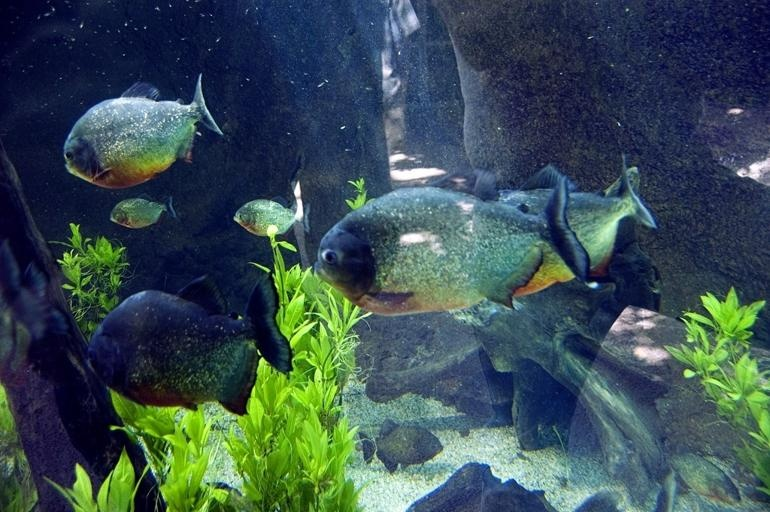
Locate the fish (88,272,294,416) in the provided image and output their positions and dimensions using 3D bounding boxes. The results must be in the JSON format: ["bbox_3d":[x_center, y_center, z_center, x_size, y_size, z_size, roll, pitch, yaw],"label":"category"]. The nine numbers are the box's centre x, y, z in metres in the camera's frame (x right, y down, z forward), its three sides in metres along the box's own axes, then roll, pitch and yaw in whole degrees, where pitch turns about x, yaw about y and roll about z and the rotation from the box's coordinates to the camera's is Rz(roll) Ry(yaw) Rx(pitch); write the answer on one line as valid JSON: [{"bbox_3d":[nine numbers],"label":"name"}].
[{"bbox_3d":[-0.914,0.439,3.013,0.948,0.511,0.361,-4,34,7],"label":"fish"}]

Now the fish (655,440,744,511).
[{"bbox_3d":[1.683,1.181,3.369,0.358,0.084,0.284,36,79,15],"label":"fish"}]
